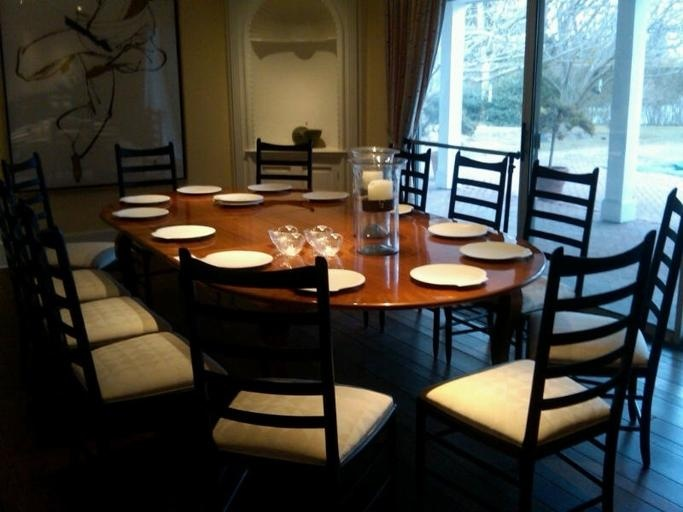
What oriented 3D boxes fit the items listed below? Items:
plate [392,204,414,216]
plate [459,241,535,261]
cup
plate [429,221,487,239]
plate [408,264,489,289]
[{"bbox_3d":[0.345,-0.260,2.956,0.112,0.027,0.113,-6,15,-25],"label":"plate"},{"bbox_3d":[0.688,-0.018,2.325,0.283,0.042,0.268,8,18,34],"label":"plate"},{"bbox_3d":[0.154,-0.233,2.375,0.211,0.432,0.256,-2,15,1],"label":"cup"},{"bbox_3d":[0.580,-0.124,2.639,0.262,0.040,0.243,11,20,41],"label":"plate"},{"bbox_3d":[0.418,0.079,2.065,0.159,0.019,0.146,-5,19,-11],"label":"plate"}]
